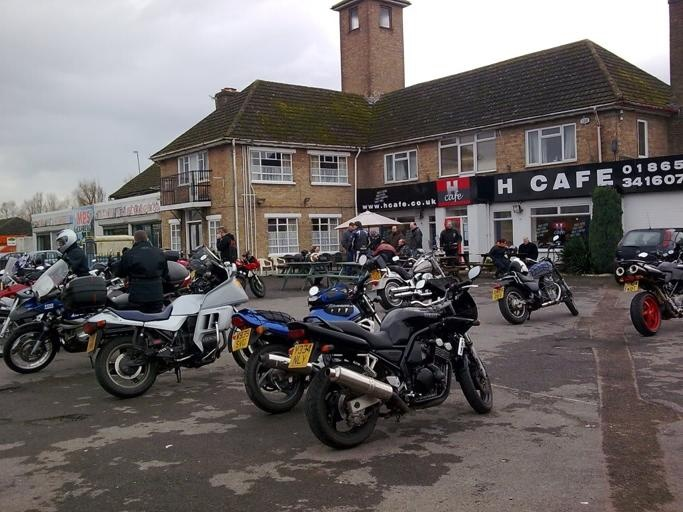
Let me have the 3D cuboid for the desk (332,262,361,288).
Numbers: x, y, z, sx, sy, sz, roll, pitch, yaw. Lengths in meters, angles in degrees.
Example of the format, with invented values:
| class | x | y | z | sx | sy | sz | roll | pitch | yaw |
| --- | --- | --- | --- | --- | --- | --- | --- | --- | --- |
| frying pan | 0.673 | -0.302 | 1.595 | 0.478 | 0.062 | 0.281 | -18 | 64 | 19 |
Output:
| class | x | y | z | sx | sy | sz | roll | pitch | yaw |
| --- | --- | --- | --- | --- | --- | --- | --- | --- | --- |
| desk | 0.145 | 0.593 | 18.512 | 0.659 | 0.390 | 1.584 | 1 | 4 | 4 |

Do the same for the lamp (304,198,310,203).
| class | x | y | z | sx | sy | sz | roll | pitch | yaw |
| --- | --- | --- | --- | --- | --- | --- | --- | --- | --- |
| lamp | -1.929 | -3.091 | 30.689 | 0.110 | 0.336 | 0.459 | 1 | 4 | 43 |

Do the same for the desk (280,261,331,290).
| class | x | y | z | sx | sy | sz | roll | pitch | yaw |
| --- | --- | --- | --- | --- | --- | --- | --- | --- | --- |
| desk | -1.293 | 0.921 | 20.458 | 1.393 | 0.694 | 1.246 | 0 | 1 | 42 |

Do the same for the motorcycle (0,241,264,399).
| class | x | y | z | sx | sy | sz | roll | pitch | yaw |
| --- | --- | --- | --- | --- | --- | --- | --- | --- | --- |
| motorcycle | -2.696 | 1.195 | 7.780 | 1.247 | 1.546 | 2.585 | -6 | 3 | 41 |

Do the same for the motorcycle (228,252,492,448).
| class | x | y | z | sx | sy | sz | roll | pitch | yaw |
| --- | --- | --- | --- | --- | --- | --- | --- | --- | --- |
| motorcycle | 0.472 | 1.132 | 6.473 | 2.996 | 1.711 | 1.446 | -1 | -4 | -45 |

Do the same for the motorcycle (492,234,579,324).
| class | x | y | z | sx | sy | sz | roll | pitch | yaw |
| --- | --- | --- | --- | --- | --- | --- | --- | --- | --- |
| motorcycle | 4.269 | 0.758 | 12.488 | 2.359 | 1.435 | 0.569 | -4 | 4 | -38 |

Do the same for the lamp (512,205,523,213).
| class | x | y | z | sx | sy | sz | roll | pitch | yaw |
| --- | --- | --- | --- | --- | --- | --- | --- | --- | --- |
| lamp | 8.246 | -2.206 | 25.966 | 0.377 | 0.405 | 0.329 | -1 | -4 | 25 |

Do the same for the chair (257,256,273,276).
| class | x | y | z | sx | sy | sz | roll | pitch | yaw |
| --- | --- | --- | --- | --- | --- | --- | --- | --- | --- |
| chair | -3.733 | 0.525 | 27.501 | 0.844 | 1.139 | 0.819 | 0 | -3 | -36 |

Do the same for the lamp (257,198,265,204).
| class | x | y | z | sx | sy | sz | roll | pitch | yaw |
| --- | --- | --- | --- | --- | --- | --- | --- | --- | --- |
| lamp | -4.251 | -2.877 | 29.063 | 0.558 | 0.351 | 0.225 | -5 | 4 | -44 |

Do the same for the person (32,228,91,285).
| class | x | y | z | sx | sy | sz | roll | pitch | yaw |
| --- | --- | --- | --- | --- | --- | --- | --- | --- | --- |
| person | -5.060 | -0.007 | 10.093 | 0.790 | 1.615 | 0.863 | -2 | 2 | -21 |

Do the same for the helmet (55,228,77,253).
| class | x | y | z | sx | sy | sz | roll | pitch | yaw |
| --- | --- | --- | --- | --- | --- | --- | --- | --- | --- |
| helmet | -4.890 | -0.273 | 9.605 | 0.437 | 0.428 | 0.346 | 1 | 1 | -19 |
